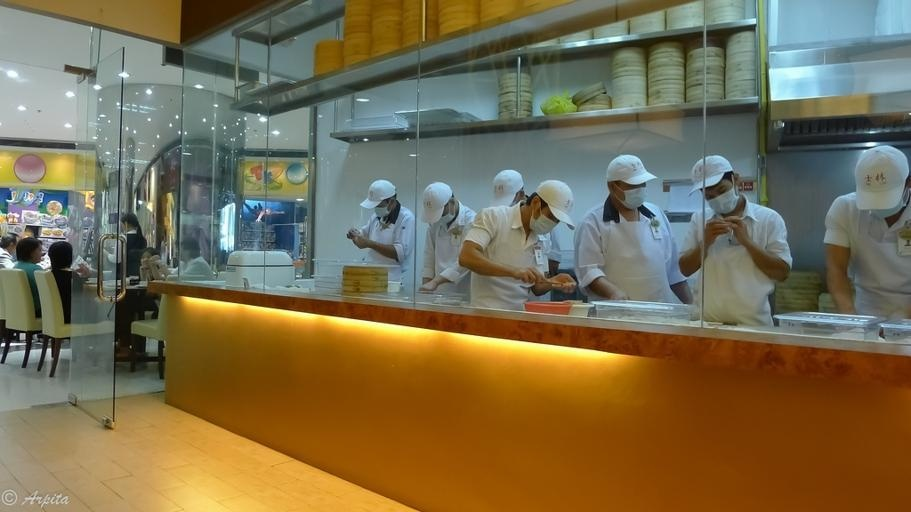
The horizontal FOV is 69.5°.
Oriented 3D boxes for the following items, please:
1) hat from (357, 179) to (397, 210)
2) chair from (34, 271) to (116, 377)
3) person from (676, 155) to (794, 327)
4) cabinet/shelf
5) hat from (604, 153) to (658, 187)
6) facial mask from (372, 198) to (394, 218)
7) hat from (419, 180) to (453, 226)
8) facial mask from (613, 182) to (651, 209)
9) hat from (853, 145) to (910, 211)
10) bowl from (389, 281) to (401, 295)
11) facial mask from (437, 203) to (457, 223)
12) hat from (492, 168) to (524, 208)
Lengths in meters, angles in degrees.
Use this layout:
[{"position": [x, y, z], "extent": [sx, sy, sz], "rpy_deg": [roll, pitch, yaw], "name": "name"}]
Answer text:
[{"position": [-0.503, -0.401, 4.269], "extent": [0.227, 0.112, 0.154], "rpy_deg": [-20, 23, -24], "name": "hat"}, {"position": [-4.311, 0.736, 7.545], "extent": [0.789, 1.069, 0.715], "rpy_deg": [0, -2, -43], "name": "chair"}, {"position": [1.506, -0.073, 3.518], "extent": [0.577, 0.920, 0.214], "rpy_deg": [-5, 11, -17], "name": "person"}, {"position": [0.445, -0.993, 3.984], "extent": [2.643, 0.480, 0.462], "rpy_deg": [2, 4, 26], "name": "cabinet/shelf"}, {"position": [0.937, -0.461, 3.545], "extent": [0.220, 0.098, 0.155], "rpy_deg": [13, 22, 38], "name": "hat"}, {"position": [-0.464, -0.309, 4.242], "extent": [0.174, 0.114, 0.022], "rpy_deg": [6, 13, 33], "name": "facial mask"}, {"position": [-0.092, -0.324, 4.032], "extent": [0.181, 0.243, 0.139], "rpy_deg": [10, -14, 35], "name": "hat"}, {"position": [0.954, -0.328, 3.592], "extent": [0.138, 0.094, 0.150], "rpy_deg": [-11, 19, -41], "name": "facial mask"}, {"position": [2.217, -0.400, 3.430], "extent": [0.237, 0.342, 0.180], "rpy_deg": [4, -7, 34], "name": "hat"}, {"position": [-0.407, 0.218, 4.410], "extent": [0.108, 0.092, 0.078], "rpy_deg": [1, -5, 4], "name": "bowl"}, {"position": [-0.050, -0.271, 3.977], "extent": [0.126, 0.156, 0.046], "rpy_deg": [0, 11, 6], "name": "facial mask"}, {"position": [0.279, -0.428, 3.883], "extent": [0.214, 0.136, 0.273], "rpy_deg": [4, 34, 20], "name": "hat"}]
